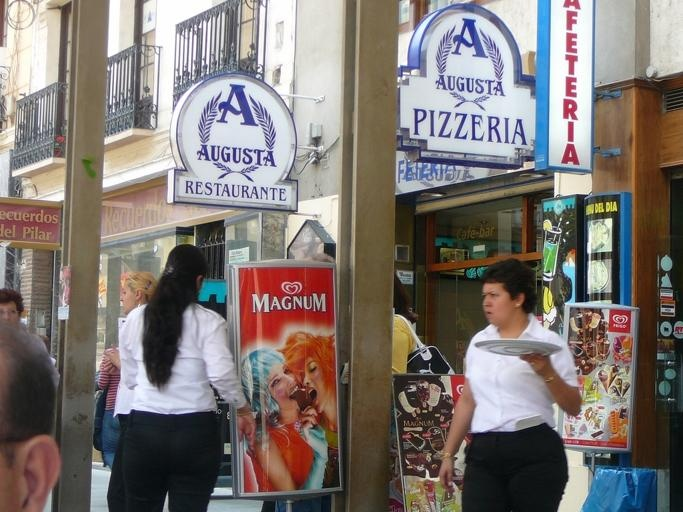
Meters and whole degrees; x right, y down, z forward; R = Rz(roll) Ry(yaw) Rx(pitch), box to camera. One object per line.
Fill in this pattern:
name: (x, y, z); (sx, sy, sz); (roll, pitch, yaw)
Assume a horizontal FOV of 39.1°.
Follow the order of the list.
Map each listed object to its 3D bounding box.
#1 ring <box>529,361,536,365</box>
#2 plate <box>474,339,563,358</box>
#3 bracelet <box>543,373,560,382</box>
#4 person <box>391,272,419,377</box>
ring: (1.012, 0.575, 5.102); (0.031, 0.022, 0.013); (-4, -3, 15)
plate: (0.939, 0.483, 5.052); (0.453, 0.102, 0.274); (-3, -3, 5)
bracelet: (1.114, 0.654, 5.130); (0.074, 0.040, 0.034); (-3, -3, 10)
person: (0.438, 0.497, 6.910); (0.219, 0.733, 0.216); (-2, 4, -24)
